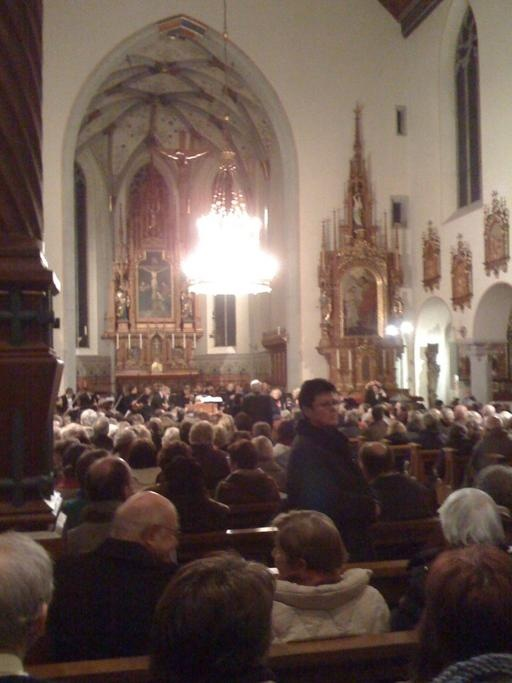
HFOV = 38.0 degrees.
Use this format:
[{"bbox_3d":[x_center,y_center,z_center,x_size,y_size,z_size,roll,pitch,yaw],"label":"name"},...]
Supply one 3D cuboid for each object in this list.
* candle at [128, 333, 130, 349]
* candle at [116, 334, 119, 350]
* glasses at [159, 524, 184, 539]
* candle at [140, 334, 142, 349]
[{"bbox_3d":[-4.240,-0.012,24.836,0.116,0.513,0.075,-1,-3,-9],"label":"candle"},{"bbox_3d":[-4.603,0.000,24.734,0.120,0.491,0.062,-2,-3,1],"label":"candle"},{"bbox_3d":[-0.278,0.634,2.484,0.082,0.025,0.076,14,-5,10],"label":"glasses"},{"bbox_3d":[-3.855,-0.023,24.923,0.114,0.494,0.035,-1,-3,-7],"label":"candle"}]
